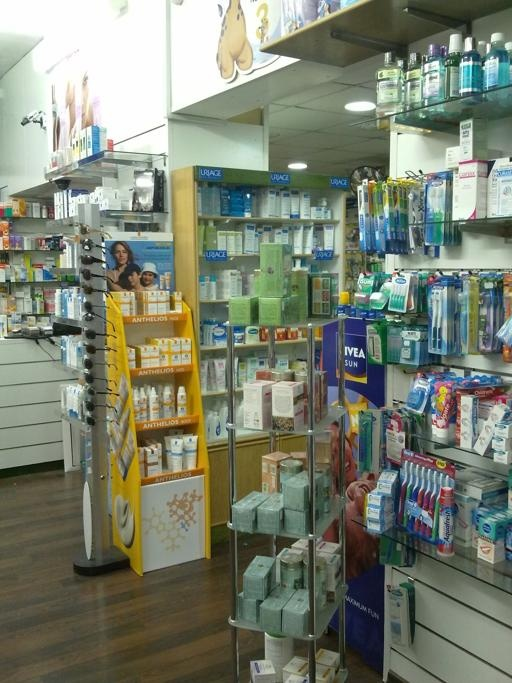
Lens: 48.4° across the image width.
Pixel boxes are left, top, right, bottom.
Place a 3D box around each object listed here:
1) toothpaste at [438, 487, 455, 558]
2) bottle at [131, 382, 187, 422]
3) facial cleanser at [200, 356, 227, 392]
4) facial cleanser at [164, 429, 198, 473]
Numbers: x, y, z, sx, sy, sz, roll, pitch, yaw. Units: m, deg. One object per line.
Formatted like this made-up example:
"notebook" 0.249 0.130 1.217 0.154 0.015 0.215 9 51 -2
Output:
"toothpaste" 0.673 0.636 2.016 0.052 0.230 0.069 1 3 15
"bottle" -0.660 0.304 3.888 0.382 0.408 0.215 -3 7 -25
"facial cleanser" -0.317 0.248 4.223 0.089 0.245 0.250 -8 9 -34
"facial cleanser" -0.506 0.751 3.883 0.260 0.325 0.103 0 -3 -16
